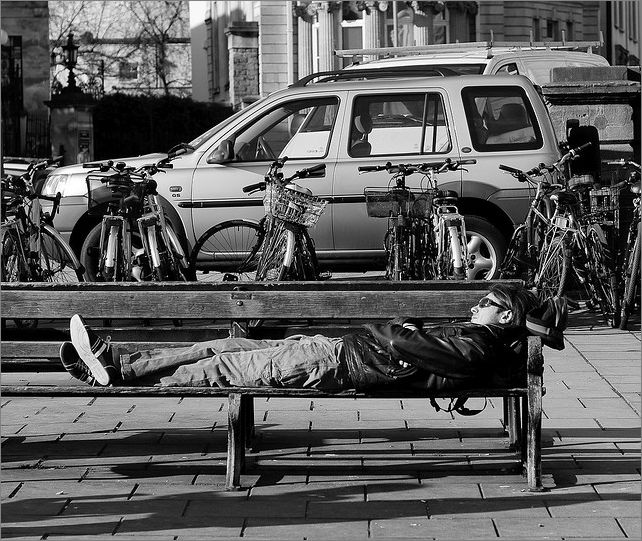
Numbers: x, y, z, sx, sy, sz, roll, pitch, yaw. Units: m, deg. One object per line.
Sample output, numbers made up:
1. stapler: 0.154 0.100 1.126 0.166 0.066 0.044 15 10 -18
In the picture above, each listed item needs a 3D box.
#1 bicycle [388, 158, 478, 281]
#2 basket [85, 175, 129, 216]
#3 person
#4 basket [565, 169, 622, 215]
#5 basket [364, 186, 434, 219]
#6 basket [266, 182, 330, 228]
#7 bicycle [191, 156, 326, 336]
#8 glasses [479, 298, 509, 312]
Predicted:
1. bicycle: 0.975 -0.459 10.166 0.778 1.043 0.773 1 8 7
2. basket: -2.000 -0.705 10.787 0.472 0.364 0.364 9 3 4
3. person: -0.052 0.438 6.027 2.825 0.711 0.860 1 -1 6
4. basket: 2.518 -0.705 10.414 0.403 0.167 0.398 18 -7 -28
5. basket: 0.705 -0.608 10.147 0.604 0.280 0.219 1 8 3
6. basket: -0.225 -0.562 9.758 0.513 0.361 0.166 0 8 -2
7. bicycle: -0.448 -0.372 10.317 1.840 1.141 0.857 -3 1 37
8. glasses: 0.888 0.175 5.842 0.087 0.029 0.074 16 0 -3
